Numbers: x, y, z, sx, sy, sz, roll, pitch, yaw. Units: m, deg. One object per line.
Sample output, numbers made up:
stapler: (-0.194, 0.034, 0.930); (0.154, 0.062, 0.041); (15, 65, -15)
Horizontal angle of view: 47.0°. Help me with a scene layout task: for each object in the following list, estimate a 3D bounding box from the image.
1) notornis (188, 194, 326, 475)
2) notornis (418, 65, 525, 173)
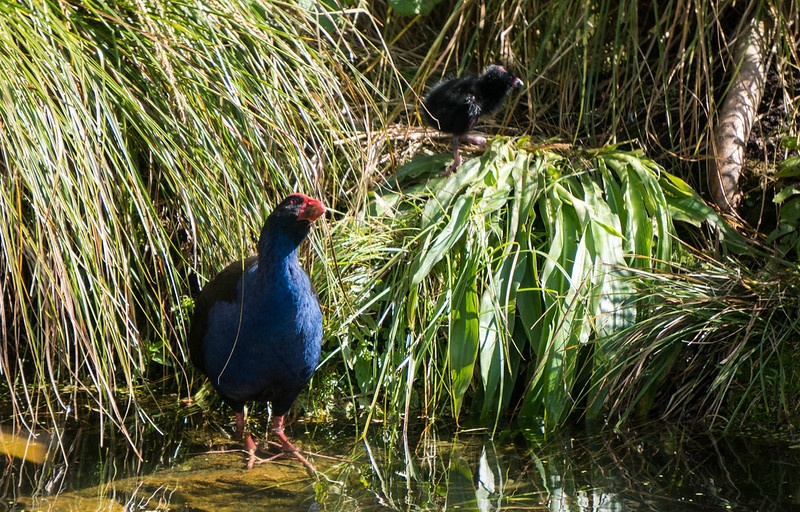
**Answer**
notornis: (-0.702, 0.335, 4.511); (0.671, 1.289, 0.335); (3, 4, 4)
notornis: (0.395, -0.900, 5.808); (0.676, 0.600, 0.424); (3, 33, -3)
